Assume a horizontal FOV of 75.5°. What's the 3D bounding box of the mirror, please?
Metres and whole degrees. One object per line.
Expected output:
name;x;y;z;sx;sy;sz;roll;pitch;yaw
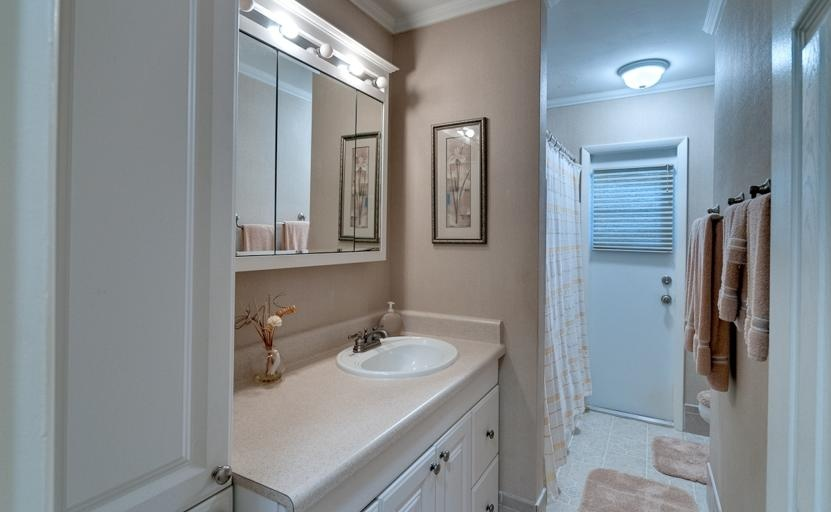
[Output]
mirror;-0.497;-0.505;2.415;0.039;0.957;1.124;-2;-4;32
